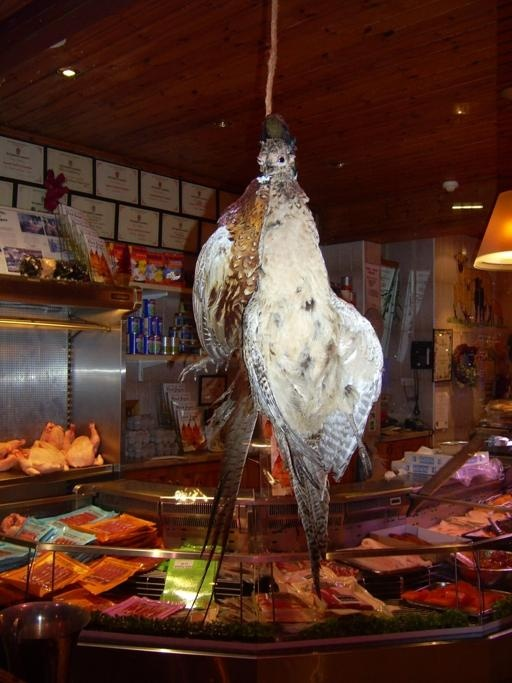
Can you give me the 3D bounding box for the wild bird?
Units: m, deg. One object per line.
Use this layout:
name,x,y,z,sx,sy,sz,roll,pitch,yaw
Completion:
wild bird,0.032,0.018,0.860,0.298,0.669,0.215,-1,-1,3
